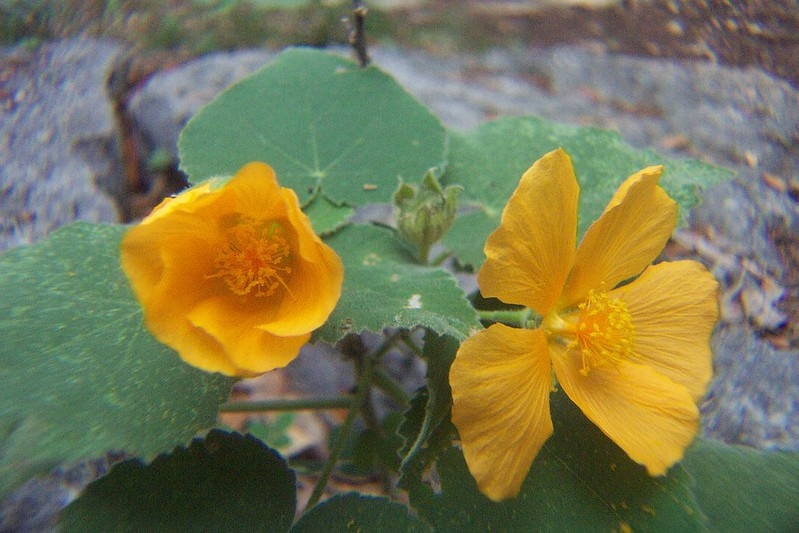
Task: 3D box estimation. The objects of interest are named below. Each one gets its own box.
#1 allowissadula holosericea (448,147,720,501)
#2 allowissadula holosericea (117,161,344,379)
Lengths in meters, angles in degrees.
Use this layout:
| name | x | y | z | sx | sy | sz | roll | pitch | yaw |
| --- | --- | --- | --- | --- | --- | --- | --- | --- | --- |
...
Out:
| name | x | y | z | sx | sy | sz | roll | pitch | yaw |
| --- | --- | --- | --- | --- | --- | --- | --- | --- | --- |
| allowissadula holosericea | 0.333 | 0.128 | 1.596 | 0.622 | 0.312 | 0.678 | 4 | 93 | -22 |
| allowissadula holosericea | -0.302 | -0.004 | 1.425 | 0.418 | 0.379 | 0.192 | 48 | 114 | 9 |
